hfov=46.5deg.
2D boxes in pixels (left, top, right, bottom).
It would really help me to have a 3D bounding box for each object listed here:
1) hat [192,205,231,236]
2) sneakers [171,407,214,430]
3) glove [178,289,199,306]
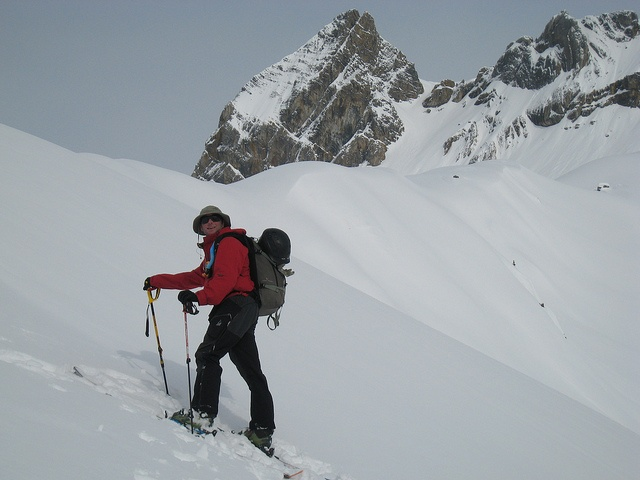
[{"bbox_3d":[-1.934,-0.334,12.972,0.565,0.355,0.673,-1,-46,-9],"label":"hat"},{"bbox_3d":[-1.903,2.663,11.128,0.649,0.300,0.235,26,-7,-8],"label":"sneakers"},{"bbox_3d":[-1.988,0.873,11.198,0.319,0.220,0.264,25,-7,-10],"label":"glove"}]
